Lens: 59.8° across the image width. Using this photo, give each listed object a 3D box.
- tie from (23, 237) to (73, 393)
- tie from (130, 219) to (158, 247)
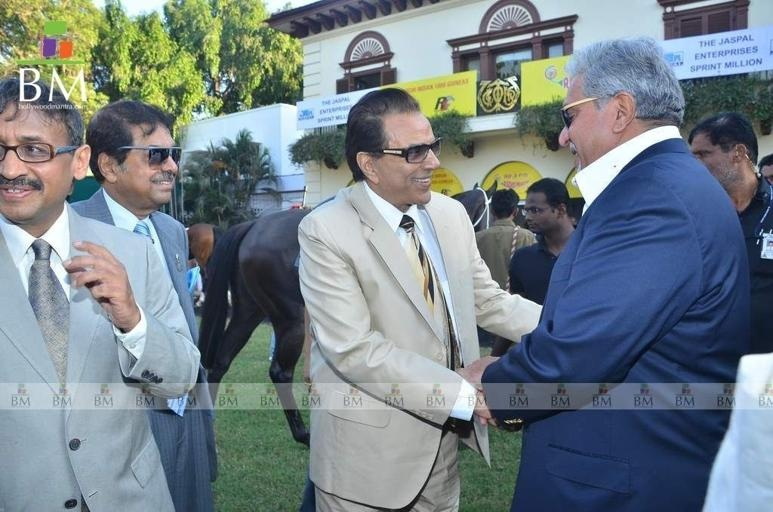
[{"bbox_3d":[-1.505,0.256,3.016,0.168,0.703,0.038,-10,-1,-23],"label":"tie"},{"bbox_3d":[-1.374,-0.126,3.803,0.059,0.156,0.117,-28,-6,-32],"label":"tie"}]
